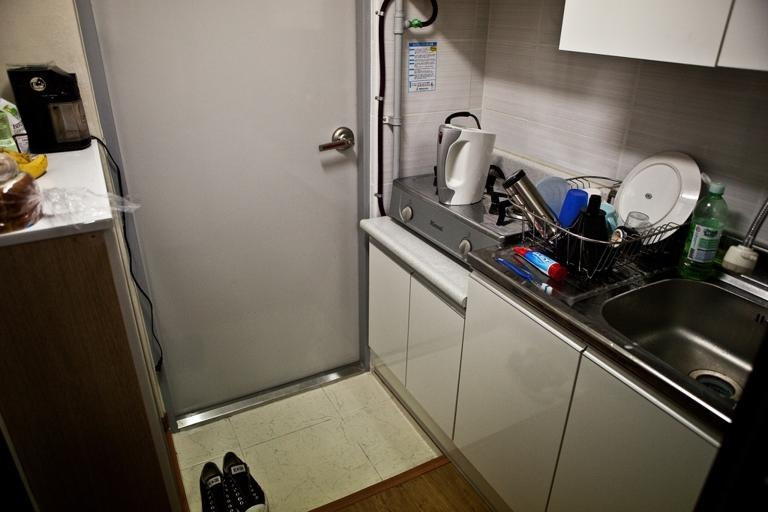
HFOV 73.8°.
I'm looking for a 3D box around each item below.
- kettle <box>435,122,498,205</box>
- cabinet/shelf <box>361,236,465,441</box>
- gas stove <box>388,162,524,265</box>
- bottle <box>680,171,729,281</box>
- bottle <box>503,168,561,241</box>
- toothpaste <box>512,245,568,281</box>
[{"bbox_3d":[0.327,-0.412,2.317,0.241,0.361,0.261,17,30,26],"label":"kettle"},{"bbox_3d":[0.129,0.366,2.429,0.504,0.797,0.568,-11,29,-25],"label":"cabinet/shelf"},{"bbox_3d":[0.276,-0.158,2.232,0.360,0.222,0.571,-18,39,-27],"label":"gas stove"},{"bbox_3d":[1.150,-0.099,1.808,0.104,0.378,0.132,-5,26,-14],"label":"bottle"},{"bbox_3d":[0.567,-0.194,2.022,0.124,0.369,0.126,-34,-6,-4],"label":"bottle"},{"bbox_3d":[0.576,0.017,1.886,0.068,0.051,0.209,-35,36,-14],"label":"toothpaste"}]
